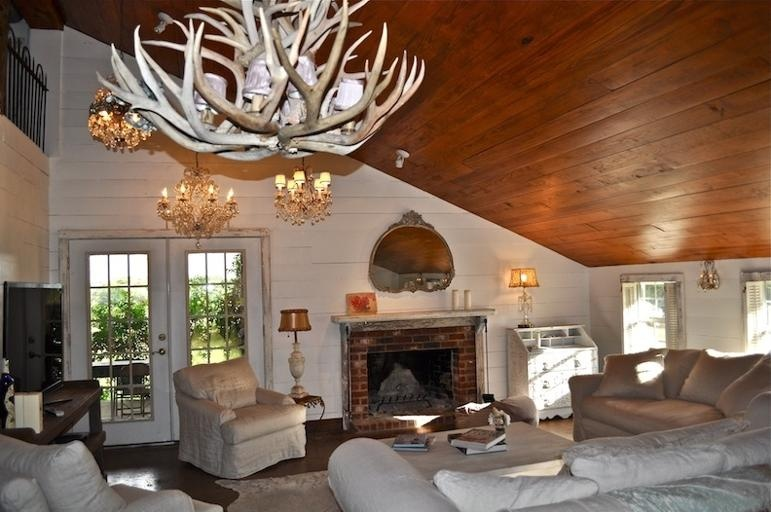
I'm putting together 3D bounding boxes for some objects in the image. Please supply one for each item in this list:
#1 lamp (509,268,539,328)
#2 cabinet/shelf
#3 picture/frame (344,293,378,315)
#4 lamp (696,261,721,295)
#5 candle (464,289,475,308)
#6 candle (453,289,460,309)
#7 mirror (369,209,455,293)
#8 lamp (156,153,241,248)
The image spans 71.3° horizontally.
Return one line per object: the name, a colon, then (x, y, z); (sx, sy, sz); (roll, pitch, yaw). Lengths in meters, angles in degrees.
lamp: (1.870, 0.550, 7.233); (0.401, 0.794, 0.374); (-3, -6, 11)
cabinet/shelf: (2.011, 1.477, 6.562); (1.377, 1.280, 0.737); (-1, -4, -15)
picture/frame: (-0.279, 0.583, 6.703); (0.418, 0.285, 0.263); (-1, -6, -10)
lamp: (3.600, 0.206, 5.978); (0.119, 0.319, 0.213); (4, -8, -42)
candle: (1.085, 0.559, 7.044); (0.101, 0.269, 0.321); (-3, -6, 8)
candle: (0.922, 0.556, 7.010); (0.100, 0.268, 0.262); (-3, -6, 7)
mirror: (0.293, -0.052, 6.958); (1.324, 0.967, 0.090); (0, -5, -18)
lamp: (-1.994, -0.596, 5.686); (0.697, 0.750, 0.656); (4, -8, -41)
